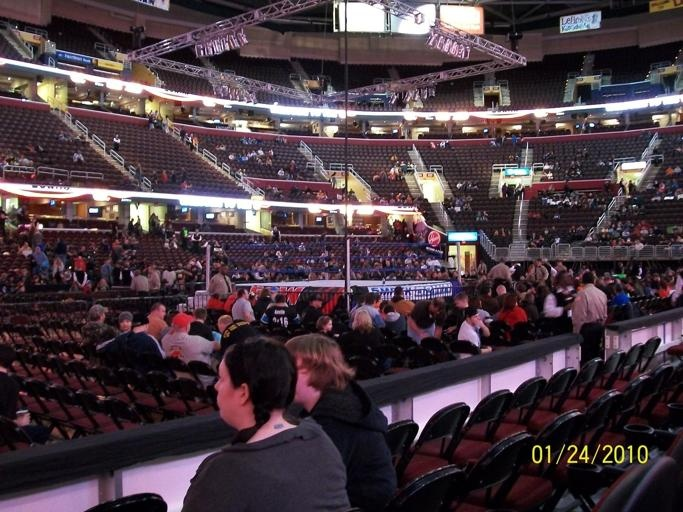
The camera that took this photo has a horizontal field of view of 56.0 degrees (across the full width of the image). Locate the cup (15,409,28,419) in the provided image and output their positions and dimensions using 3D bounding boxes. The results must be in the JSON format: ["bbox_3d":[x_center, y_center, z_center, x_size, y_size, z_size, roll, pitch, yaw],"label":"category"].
[{"bbox_3d":[-2.906,1.416,5.836,0.071,0.067,0.098,2,4,45],"label":"cup"}]

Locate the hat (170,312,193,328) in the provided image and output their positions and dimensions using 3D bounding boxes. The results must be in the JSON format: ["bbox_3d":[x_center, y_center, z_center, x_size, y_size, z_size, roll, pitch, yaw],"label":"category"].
[{"bbox_3d":[-1.933,0.752,7.888,0.171,0.129,0.244,15,29,15],"label":"hat"}]
